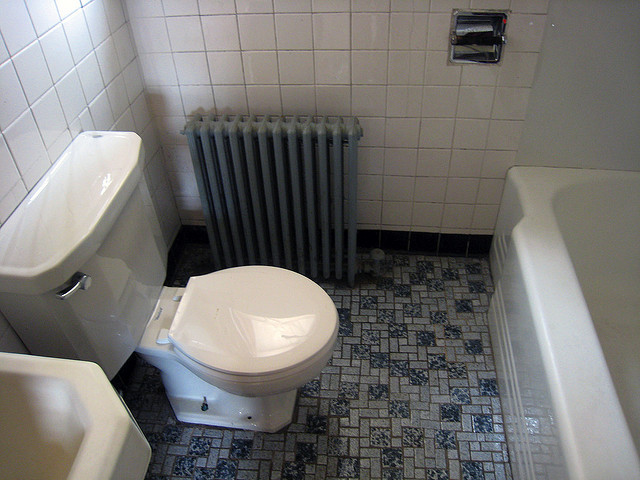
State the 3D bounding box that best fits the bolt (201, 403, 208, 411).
[{"bbox_3d":[-0.453,0.646,1.884,0.019,0.028,0.029,2,48,-19],"label":"bolt"}]
